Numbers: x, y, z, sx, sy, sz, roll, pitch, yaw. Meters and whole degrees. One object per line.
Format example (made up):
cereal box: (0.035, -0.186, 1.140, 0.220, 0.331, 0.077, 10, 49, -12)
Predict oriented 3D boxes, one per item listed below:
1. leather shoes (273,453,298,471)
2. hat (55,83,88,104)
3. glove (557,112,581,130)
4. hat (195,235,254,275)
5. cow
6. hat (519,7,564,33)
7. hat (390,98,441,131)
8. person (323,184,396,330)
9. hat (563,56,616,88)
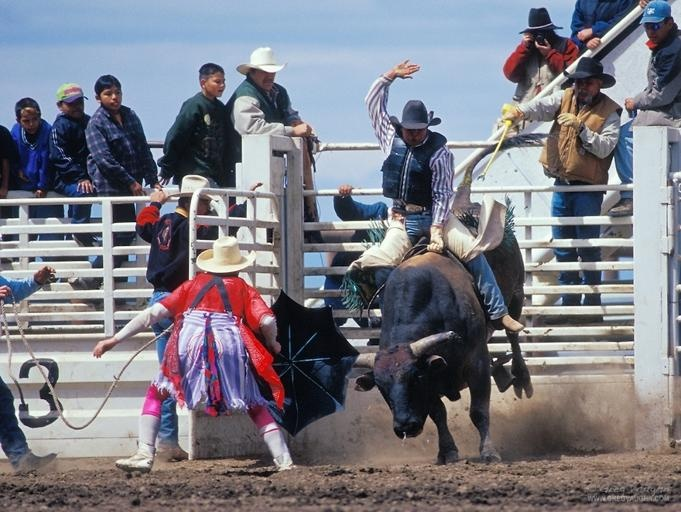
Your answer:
leather shoes: (-0.662, 2.246, 23.454, 0.158, 0.179, 0.245, 0, -12, -9)
hat: (-3.384, -1.939, 26.258, 0.294, 0.232, 0.247, -5, 0, -16)
glove: (2.713, -1.573, 25.795, 0.343, 0.192, 0.263, -5, 0, 19)
hat: (-1.298, -0.030, 23.715, 0.669, 0.280, 0.732, 14, 22, 41)
cow: (1.043, 0.935, 23.840, 1.096, 2.104, 4.036, -13, 16, 29)
hat: (2.452, -2.916, 27.059, 0.385, 0.315, 0.646, -5, 0, 5)
hat: (0.858, -1.545, 24.338, 0.456, 0.324, 0.236, -5, 0, -42)
person: (0.092, -0.211, 25.748, 0.513, 2.166, 1.127, 2, -6, -4)
hat: (3.044, -2.123, 25.976, 0.411, 0.193, 0.471, 4, -14, 39)
